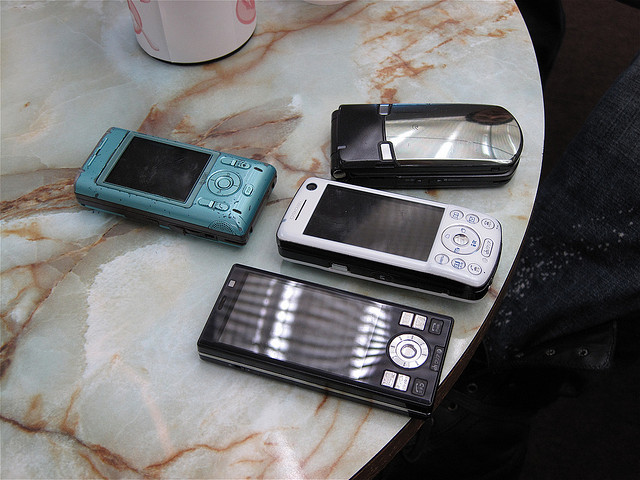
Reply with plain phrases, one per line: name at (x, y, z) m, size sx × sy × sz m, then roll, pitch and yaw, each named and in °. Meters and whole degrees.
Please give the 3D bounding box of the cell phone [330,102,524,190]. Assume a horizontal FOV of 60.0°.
cell phone at (0.162, -0.151, 0.885) m, size 0.295 × 0.073 × 0.134 m, roll 2°, pitch 64°, yaw 6°

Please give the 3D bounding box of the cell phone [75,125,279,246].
cell phone at (-0.206, -0.076, 0.875) m, size 0.306 × 0.082 × 0.147 m, roll 15°, pitch 69°, yaw 4°

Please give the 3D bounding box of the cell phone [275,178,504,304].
cell phone at (0.078, 0.004, 0.847) m, size 0.350 × 0.084 × 0.141 m, roll 12°, pitch 67°, yaw 7°
